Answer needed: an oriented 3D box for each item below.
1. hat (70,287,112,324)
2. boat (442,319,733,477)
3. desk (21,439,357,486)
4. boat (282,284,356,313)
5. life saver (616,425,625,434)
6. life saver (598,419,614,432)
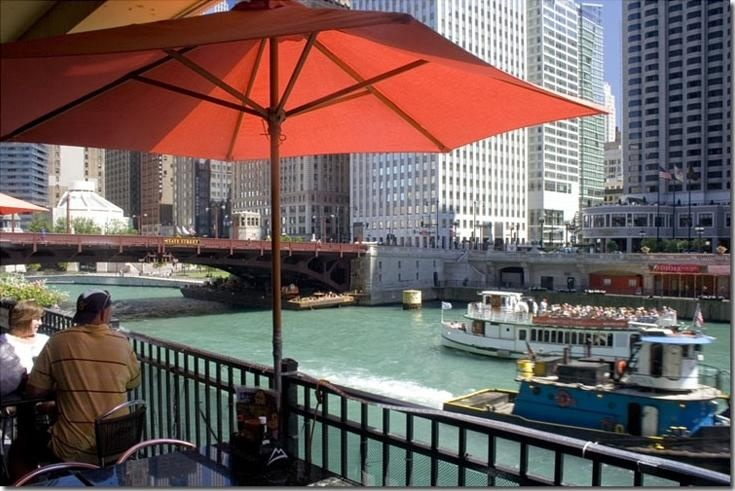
[{"bbox_3d":[-3.727,0.803,11.336,0.410,0.301,0.568,-2,18,6],"label":"hat"},{"bbox_3d":[6.093,4.251,23.587,3.588,3.185,8.752,5,-7,-42],"label":"boat"},{"bbox_3d":[-2.458,2.817,10.614,3.937,0.484,0.735,1,0,-2],"label":"desk"},{"bbox_3d":[-3.452,4.113,59.885,1.618,0.929,5.935,6,8,40],"label":"boat"},{"bbox_3d":[6.754,4.990,22.298,0.253,0.323,0.176,-7,-49,26],"label":"life saver"},{"bbox_3d":[6.467,4.938,22.577,0.337,0.331,0.313,0,-7,1],"label":"life saver"}]
